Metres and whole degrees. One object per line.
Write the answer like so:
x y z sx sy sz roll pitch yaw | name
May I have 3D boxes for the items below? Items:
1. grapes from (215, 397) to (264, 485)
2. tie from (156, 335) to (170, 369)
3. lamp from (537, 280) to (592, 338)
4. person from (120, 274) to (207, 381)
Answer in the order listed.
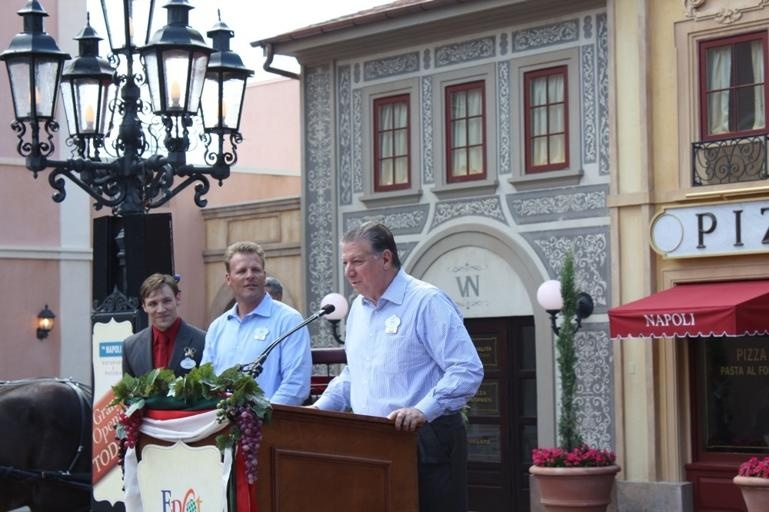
-1.334 1.735 12.899 0.396 0.790 0.382 -3 -7 -11 | grapes
-2.475 1.075 15.415 0.204 0.338 0.224 -1 5 3 | tie
2.734 0.758 21.353 0.619 1.035 0.665 2 -2 43 | lamp
-2.463 1.126 15.557 0.890 1.894 0.539 -2 6 4 | person
